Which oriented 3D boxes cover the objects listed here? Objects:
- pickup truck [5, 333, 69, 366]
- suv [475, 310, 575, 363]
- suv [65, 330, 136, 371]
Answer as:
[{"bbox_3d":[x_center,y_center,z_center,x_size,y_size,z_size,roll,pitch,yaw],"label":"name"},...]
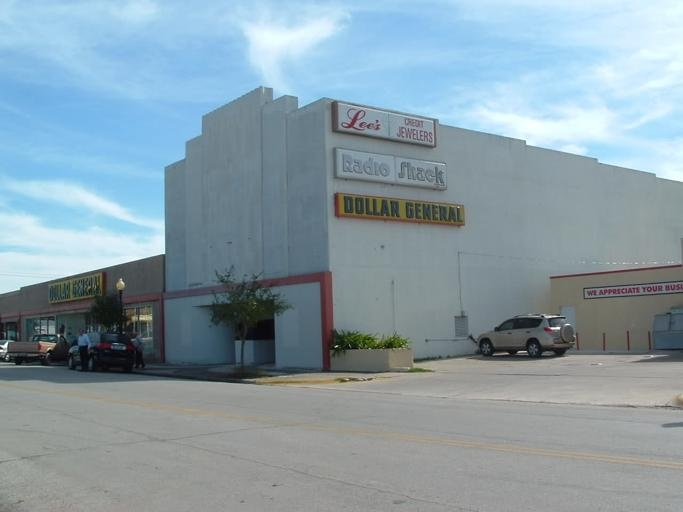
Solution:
[{"bbox_3d":[-18.151,5.683,38.438,3.229,1.830,1.940,2,-9,-25],"label":"pickup truck"},{"bbox_3d":[8.999,3.933,31.078,3.983,1.818,1.995,0,-4,41],"label":"suv"},{"bbox_3d":[-11.579,4.655,31.119,1.754,1.475,3.850,4,-5,-36],"label":"suv"}]
